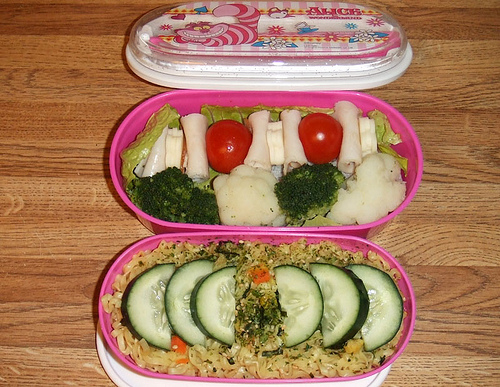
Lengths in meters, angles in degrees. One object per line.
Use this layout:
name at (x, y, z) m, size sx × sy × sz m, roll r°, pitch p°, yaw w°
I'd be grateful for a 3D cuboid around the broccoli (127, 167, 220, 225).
broccoli at (-0.361, -0.077, 3.283) m, size 0.611 × 0.297 × 0.502 m, roll -4°, pitch 25°, yaw 3°

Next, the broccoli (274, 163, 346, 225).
broccoli at (0.325, -0.029, 3.231) m, size 0.395 × 0.287 × 0.521 m, roll 0°, pitch 26°, yaw 1°

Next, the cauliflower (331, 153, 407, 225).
cauliflower at (0.673, -0.016, 3.120) m, size 0.398 × 0.398 × 0.136 m, roll 9°, pitch -9°, yaw 12°

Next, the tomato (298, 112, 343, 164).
tomato at (0.416, -0.334, 3.292) m, size 0.291 × 0.296 × 0.264 m, roll 0°, pitch -5°, yaw 9°

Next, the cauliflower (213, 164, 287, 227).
cauliflower at (-0.007, 0.037, 3.168) m, size 0.384 × 0.348 × 0.112 m, roll -8°, pitch -5°, yaw -4°
